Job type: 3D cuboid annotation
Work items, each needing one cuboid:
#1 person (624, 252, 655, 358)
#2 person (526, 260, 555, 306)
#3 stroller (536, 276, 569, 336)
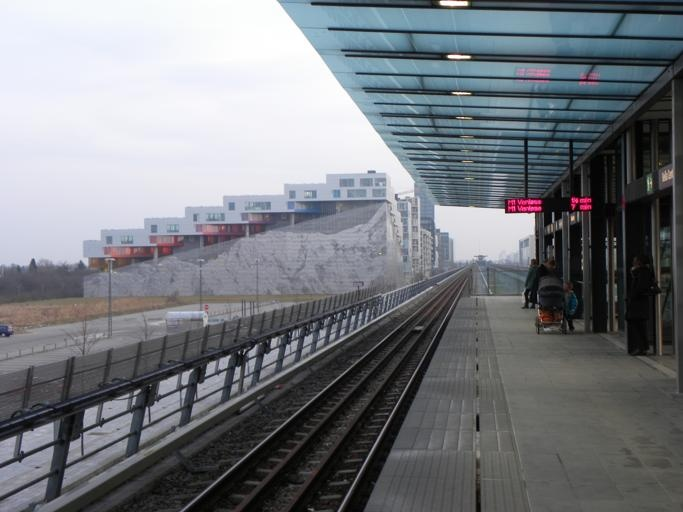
[{"bbox_3d":[6.550,1.082,13.156,0.579,2.258,1.551,-3,2,25],"label":"person"},{"bbox_3d":[6.621,0.867,20.004,0.793,0.710,1.933,0,-9,17],"label":"person"},{"bbox_3d":[5.966,1.382,17.171,0.805,1.644,0.782,-3,2,14],"label":"stroller"}]
